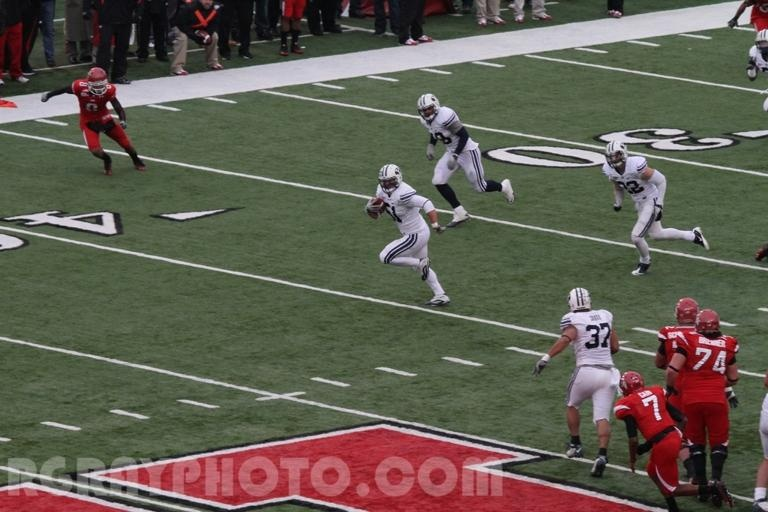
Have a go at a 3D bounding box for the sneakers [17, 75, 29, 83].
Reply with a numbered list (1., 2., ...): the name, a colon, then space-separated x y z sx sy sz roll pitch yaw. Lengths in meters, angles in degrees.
1. sneakers: -6.474 -3.167 28.074 0.224 0.122 0.178 -4 14 -23

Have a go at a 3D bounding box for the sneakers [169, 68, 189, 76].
1. sneakers: -3.745 -3.381 28.600 0.321 0.156 0.250 -3 13 -19

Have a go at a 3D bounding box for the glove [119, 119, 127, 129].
1. glove: -4.023 -2.033 24.043 0.140 0.116 0.058 10 -3 -1

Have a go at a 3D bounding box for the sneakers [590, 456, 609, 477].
1. sneakers: 2.380 2.361 17.520 0.153 0.272 0.150 25 19 -1

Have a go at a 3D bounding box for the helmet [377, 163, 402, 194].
1. helmet: 0.066 -1.032 20.969 0.291 0.371 0.300 2 15 1

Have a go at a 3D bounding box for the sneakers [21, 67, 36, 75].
1. sneakers: -6.448 -3.373 28.452 0.121 0.129 0.251 8 14 24

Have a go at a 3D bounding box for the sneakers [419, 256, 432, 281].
1. sneakers: 0.527 0.164 20.735 0.204 0.270 0.129 7 -3 -9

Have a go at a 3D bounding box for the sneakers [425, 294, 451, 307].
1. sneakers: 0.716 0.597 20.831 0.408 0.090 0.152 -6 -29 21

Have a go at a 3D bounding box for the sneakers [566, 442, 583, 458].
1. sneakers: 2.136 2.224 17.798 0.169 0.116 0.216 0 14 -9

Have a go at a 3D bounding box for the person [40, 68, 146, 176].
1. person: -4.382 -2.073 24.153 1.247 1.680 0.621 3 16 4

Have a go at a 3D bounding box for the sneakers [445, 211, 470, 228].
1. sneakers: 1.094 -0.536 23.009 0.492 0.165 0.141 -21 4 8

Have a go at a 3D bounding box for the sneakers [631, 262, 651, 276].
1. sneakers: 3.495 0.192 21.561 0.357 0.104 0.121 -11 18 -41

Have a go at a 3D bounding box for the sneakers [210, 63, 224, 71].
1. sneakers: -3.102 -3.489 28.848 0.317 0.093 0.107 -11 4 -42

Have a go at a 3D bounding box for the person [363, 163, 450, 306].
1. person: 0.300 -0.314 21.120 1.168 1.838 1.209 2 15 -1

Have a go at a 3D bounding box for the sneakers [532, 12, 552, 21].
1. sneakers: 3.233 -4.938 32.160 0.430 0.130 0.107 2 56 11

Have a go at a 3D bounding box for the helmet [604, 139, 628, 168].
1. helmet: 3.153 -1.381 21.422 0.286 0.347 0.243 4 15 7

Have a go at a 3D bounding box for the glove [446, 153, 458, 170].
1. glove: 0.985 -1.385 23.013 0.219 0.198 0.075 -14 19 -9

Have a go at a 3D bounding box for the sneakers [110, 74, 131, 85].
1. sneakers: -4.686 -3.138 27.837 0.408 0.107 0.116 0 24 0

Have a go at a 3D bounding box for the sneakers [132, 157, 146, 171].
1. sneakers: -3.844 -1.443 24.425 0.149 0.094 0.291 -19 29 -33

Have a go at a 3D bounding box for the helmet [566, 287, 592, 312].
1. helmet: 2.206 0.503 17.985 0.341 0.214 0.319 0 9 5

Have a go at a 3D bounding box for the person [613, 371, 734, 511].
1. person: 3.040 2.043 17.056 0.658 1.405 1.251 -13 20 -41

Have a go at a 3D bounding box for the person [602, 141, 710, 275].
1. person: 3.676 -0.680 21.708 1.397 1.823 0.903 2 16 0

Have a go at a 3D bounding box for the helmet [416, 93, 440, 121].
1. helmet: 0.635 -2.173 22.978 0.288 0.381 0.298 3 15 4
